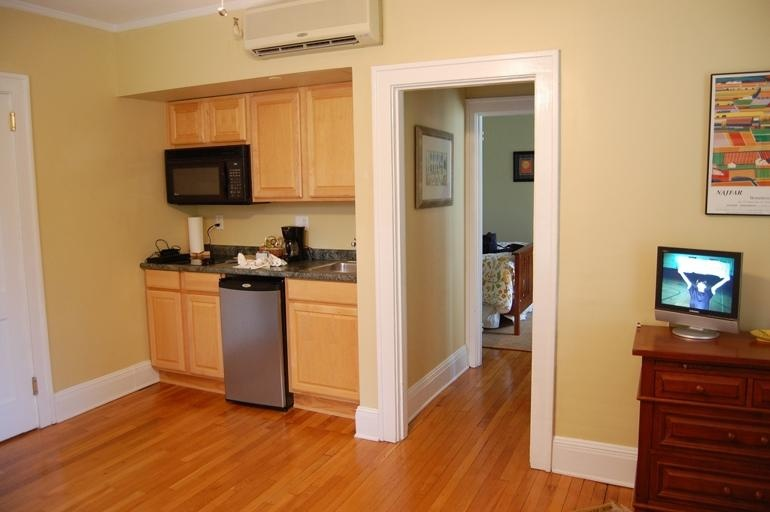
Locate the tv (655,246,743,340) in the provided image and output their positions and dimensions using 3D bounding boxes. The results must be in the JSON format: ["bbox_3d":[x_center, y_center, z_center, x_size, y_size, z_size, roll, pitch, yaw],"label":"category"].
[{"bbox_3d":[1.951,0.225,3.539,0.584,0.660,0.294,2,4,32],"label":"tv"}]

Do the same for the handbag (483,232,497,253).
[{"bbox_3d":[1.413,-0.178,7.656,0.171,0.212,0.351,-1,9,9],"label":"handbag"}]

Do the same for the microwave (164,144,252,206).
[{"bbox_3d":[-1.591,-0.746,5.333,0.927,0.552,0.545,2,5,20],"label":"microwave"}]

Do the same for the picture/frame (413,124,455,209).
[{"bbox_3d":[0.416,-0.768,4.942,0.030,0.640,0.810,3,6,28],"label":"picture/frame"}]

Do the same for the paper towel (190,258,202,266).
[{"bbox_3d":[-1.749,0.050,5.354,0.088,0.014,0.470,-4,9,-18],"label":"paper towel"}]

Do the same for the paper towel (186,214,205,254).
[{"bbox_3d":[-1.855,-0.209,5.647,0.134,0.347,0.172,-5,9,-20],"label":"paper towel"}]

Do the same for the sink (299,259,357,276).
[{"bbox_3d":[-0.512,0.103,5.073,0.510,0.088,0.248,-9,11,-42],"label":"sink"}]

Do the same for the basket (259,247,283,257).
[{"bbox_3d":[-1.034,-0.049,5.285,0.144,0.056,0.103,0,4,4],"label":"basket"}]

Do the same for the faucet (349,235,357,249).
[{"bbox_3d":[-0.276,-0.128,5.148,0.086,0.108,0.036,3,-2,6],"label":"faucet"}]
